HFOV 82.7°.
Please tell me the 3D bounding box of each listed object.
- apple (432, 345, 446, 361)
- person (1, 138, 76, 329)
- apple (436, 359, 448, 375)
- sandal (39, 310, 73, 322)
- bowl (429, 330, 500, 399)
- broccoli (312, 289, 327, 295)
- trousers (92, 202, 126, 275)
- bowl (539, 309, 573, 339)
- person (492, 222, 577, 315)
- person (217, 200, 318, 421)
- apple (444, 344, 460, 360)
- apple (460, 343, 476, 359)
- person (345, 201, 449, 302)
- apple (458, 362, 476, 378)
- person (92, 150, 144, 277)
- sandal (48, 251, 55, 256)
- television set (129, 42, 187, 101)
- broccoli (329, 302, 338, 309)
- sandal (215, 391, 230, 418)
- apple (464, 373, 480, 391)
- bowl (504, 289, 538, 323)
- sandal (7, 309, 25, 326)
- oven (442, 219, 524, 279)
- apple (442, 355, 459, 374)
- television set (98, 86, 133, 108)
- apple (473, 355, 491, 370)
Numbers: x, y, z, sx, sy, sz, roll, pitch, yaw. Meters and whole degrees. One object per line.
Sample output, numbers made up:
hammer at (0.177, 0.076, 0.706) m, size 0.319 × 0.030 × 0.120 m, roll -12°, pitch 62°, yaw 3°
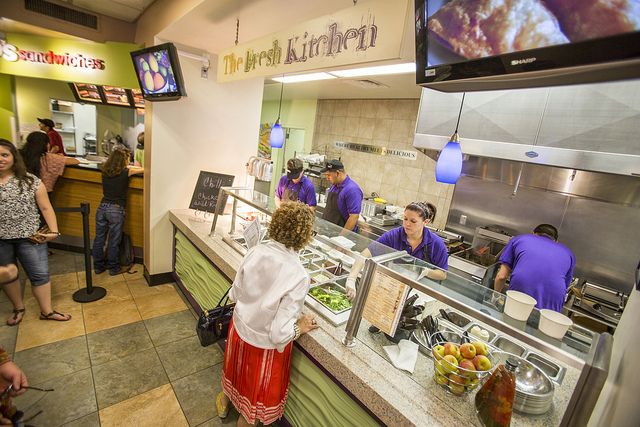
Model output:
apple at (0.910, 1.041, 2.774) m, size 0.089 × 0.088 × 0.105 m, roll 12°, pitch -29°, yaw 33°
person at (-3.426, 0.203, 4.259) m, size 0.599 × 2.114 × 1.107 m, roll -8°, pitch 17°, yaw -41°
apple at (0.911, 1.151, 2.756) m, size 0.093 × 0.068 × 0.071 m, roll 10°, pitch 5°, yaw 30°
sandal at (-3.156, 1.197, 4.384) m, size 0.381 × 0.129 × 0.126 m, roll 2°, pitch 4°, yaw -21°
bowl at (1.112, 1.152, 2.844) m, size 0.491 × 0.326 × 0.483 m, roll 8°, pitch 15°, yaw -2°
broccoli at (-0.005, 0.752, 3.506) m, size 0.071 × 0.020 × 0.069 m, roll 26°, pitch 29°, yaw 23°
trousers at (-3.055, 0.343, 5.265) m, size 0.450 × 1.062 × 0.200 m, roll 3°, pitch 13°, yaw -3°
bowl at (1.688, 0.784, 2.629) m, size 0.191 × 0.111 × 0.186 m, roll 13°, pitch -3°, yaw 1°
person at (2.304, 0.565, 3.877) m, size 0.587 × 0.791 × 0.571 m, roll 0°, pitch 13°, yaw -14°
person at (-0.479, 0.852, 3.135) m, size 0.743 × 1.900 × 0.443 m, roll 3°, pitch 13°, yaw -2°
apple at (0.997, 1.028, 2.744) m, size 0.105 × 0.101 × 0.103 m, roll 3°, pitch -1°, yaw 20°
apple at (1.111, 1.021, 2.727) m, size 0.100 × 0.097 × 0.099 m, roll 2°, pitch 3°, yaw -22°
person at (0.833, 0.360, 3.566) m, size 0.930 × 0.884 × 1.292 m, roll 10°, pitch 14°, yaw 28°
apple at (1.080, 1.135, 2.701) m, size 0.097 × 0.108 × 0.125 m, roll -19°, pitch 3°, yaw 38°
person at (-2.930, -0.015, 5.242) m, size 0.641 × 1.812 × 0.328 m, roll -5°, pitch 16°, yaw -32°
sandal at (-4.089, 0.597, 5.544) m, size 0.126 × 0.043 × 0.179 m, roll -4°, pitch 13°, yaw -40°
television set at (-1.973, -1.652, 4.298) m, size 0.238 × 0.609 × 0.712 m, roll -8°, pitch 23°, yaw 19°
broccoli at (0.126, 0.840, 3.368) m, size 0.065 × 0.024 × 0.078 m, roll 4°, pitch 12°, yaw 1°
sandal at (-0.951, 1.874, 3.589) m, size 0.098 × 0.249 × 0.111 m, roll -2°, pitch -15°, yaw -27°
apple at (1.113, 1.234, 2.711) m, size 0.140 × 0.127 × 0.059 m, roll -5°, pitch 12°, yaw -21°
bowl at (1.507, 0.677, 2.753) m, size 0.224 × 0.155 × 0.224 m, roll 2°, pitch 1°, yaw 0°
sandal at (-3.515, 1.183, 4.230) m, size 0.073 × 0.080 × 0.205 m, roll 23°, pitch 31°, yaw -17°
oven at (2.338, 0.729, 5.325) m, size 0.929 × 0.945 × 0.550 m, roll -11°, pitch 25°, yaw -35°
apple at (0.971, 1.120, 2.721) m, size 0.113 × 0.118 × 0.071 m, roll 9°, pitch 14°, yaw 22°
television set at (-4.053, -2.333, 7.222) m, size 0.604 × 0.330 × 0.460 m, roll 1°, pitch 13°, yaw -11°
apple at (1.194, 1.097, 2.686) m, size 0.100 × 0.094 × 0.099 m, roll -12°, pitch -10°, yaw 9°
